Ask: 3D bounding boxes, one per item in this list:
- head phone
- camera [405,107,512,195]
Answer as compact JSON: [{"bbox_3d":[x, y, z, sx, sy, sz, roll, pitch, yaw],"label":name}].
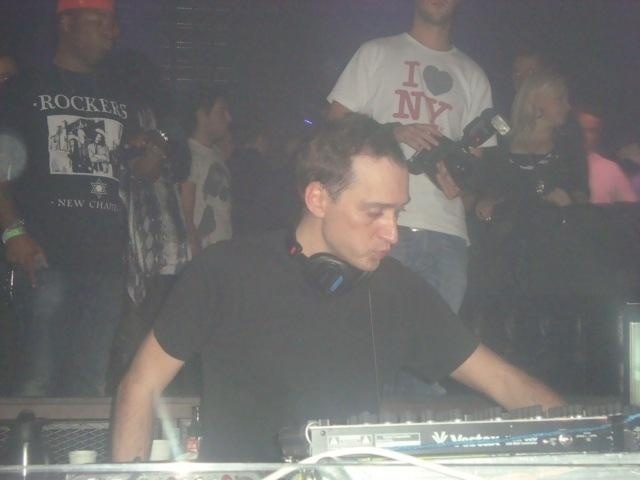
[{"bbox_3d":[-0.013,0.069,2.273,0.222,0.081,0.203,24,2,-32],"label":"head phone"},{"bbox_3d":[0.575,-0.404,3.016,0.373,0.357,0.117,20,6,-28],"label":"camera"}]
